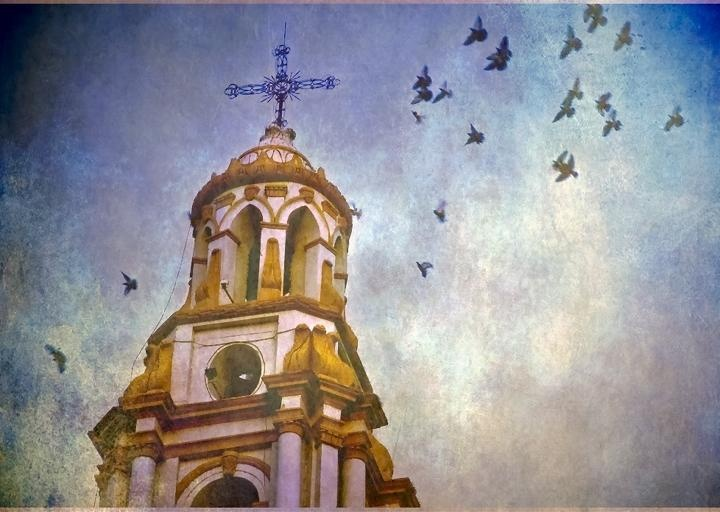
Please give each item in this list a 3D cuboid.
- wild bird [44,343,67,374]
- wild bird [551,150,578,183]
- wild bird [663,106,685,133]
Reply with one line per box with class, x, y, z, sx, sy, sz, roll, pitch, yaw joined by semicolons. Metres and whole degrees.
wild bird;-4.312;1.452;19.125;0.226;0.423;0.112;-28;-5;-19
wild bird;3.117;-1.337;20.206;0.356;0.472;0.234;-12;-33;13
wild bird;4.862;-2.111;20.672;0.377;0.413;0.101;-3;-31;-2
